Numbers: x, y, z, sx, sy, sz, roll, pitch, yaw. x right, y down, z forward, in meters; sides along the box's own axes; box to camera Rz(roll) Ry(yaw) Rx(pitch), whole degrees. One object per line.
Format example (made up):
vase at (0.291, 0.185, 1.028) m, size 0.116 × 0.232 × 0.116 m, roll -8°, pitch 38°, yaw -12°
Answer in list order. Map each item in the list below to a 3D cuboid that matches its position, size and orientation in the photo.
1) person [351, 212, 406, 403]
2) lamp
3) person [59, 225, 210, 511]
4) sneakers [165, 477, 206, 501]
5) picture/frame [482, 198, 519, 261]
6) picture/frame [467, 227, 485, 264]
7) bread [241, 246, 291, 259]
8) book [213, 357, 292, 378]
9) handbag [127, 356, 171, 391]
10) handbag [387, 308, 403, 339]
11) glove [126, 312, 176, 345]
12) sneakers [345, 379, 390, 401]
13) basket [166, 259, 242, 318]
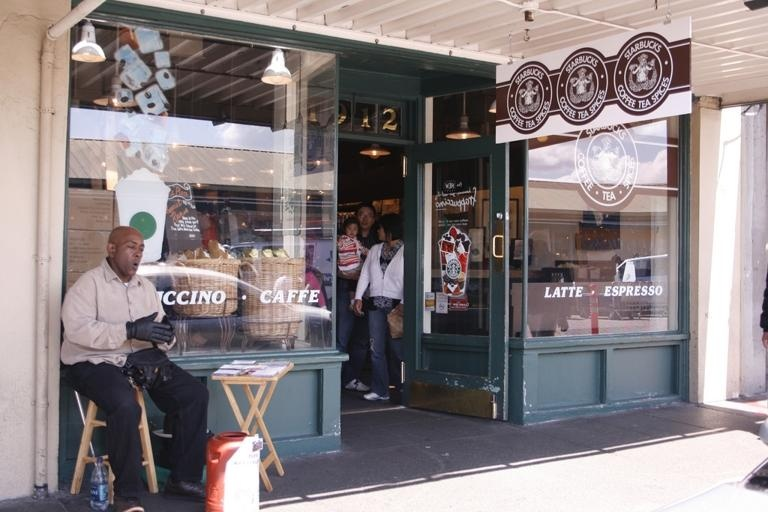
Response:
person at (-0.089, 0.636, 8.400) m, size 0.643 × 2.307 × 0.395 m, roll 3°, pitch 4°, yaw 44°
lamp at (-0.943, -1.484, 6.556) m, size 3.770 × 1.319 × 1.147 m, roll -3°, pitch 4°, yaw -44°
person at (-1.978, 0.848, 5.331) m, size 0.998 × 2.154 × 0.885 m, roll 3°, pitch 4°, yaw 42°
sneakers at (-1.582, 1.844, 5.279) m, size 0.382 × 0.152 × 0.128 m, roll 1°, pitch 1°, yaw 2°
picture/frame at (1.329, -0.302, 7.425) m, size 0.364 × 0.681 × 0.168 m, roll 1°, pitch 3°, yaw 8°
picture/frame at (1.017, -0.115, 7.642) m, size 0.270 × 0.466 × 0.047 m, roll 0°, pitch -1°, yaw 23°
bread at (-1.115, -0.027, 6.285) m, size 0.448 × 0.093 × 0.021 m, roll -2°, pitch 3°, yaw -29°
book at (-1.072, 0.929, 5.533) m, size 0.555 × 0.064 × 0.497 m, roll 1°, pitch 3°, yaw 12°
handbag at (-1.872, 0.926, 5.299) m, size 0.126 × 0.234 × 0.334 m, roll 3°, pitch 4°, yaw 45°
handbag at (0.155, 0.841, 8.338) m, size 0.117 × 0.322 × 0.309 m, roll 4°, pitch 15°, yaw 33°
glove at (-1.877, 0.599, 5.329) m, size 0.353 × 0.253 × 0.238 m, roll -1°, pitch 3°, yaw -20°
sneakers at (-0.266, 1.758, 8.705) m, size 0.605 × 0.259 × 0.206 m, roll -10°, pitch -8°, yaw 44°
basket at (-1.635, 0.289, 6.050) m, size 0.520 × 0.424 × 0.522 m, roll -7°, pitch -10°, yaw 30°
